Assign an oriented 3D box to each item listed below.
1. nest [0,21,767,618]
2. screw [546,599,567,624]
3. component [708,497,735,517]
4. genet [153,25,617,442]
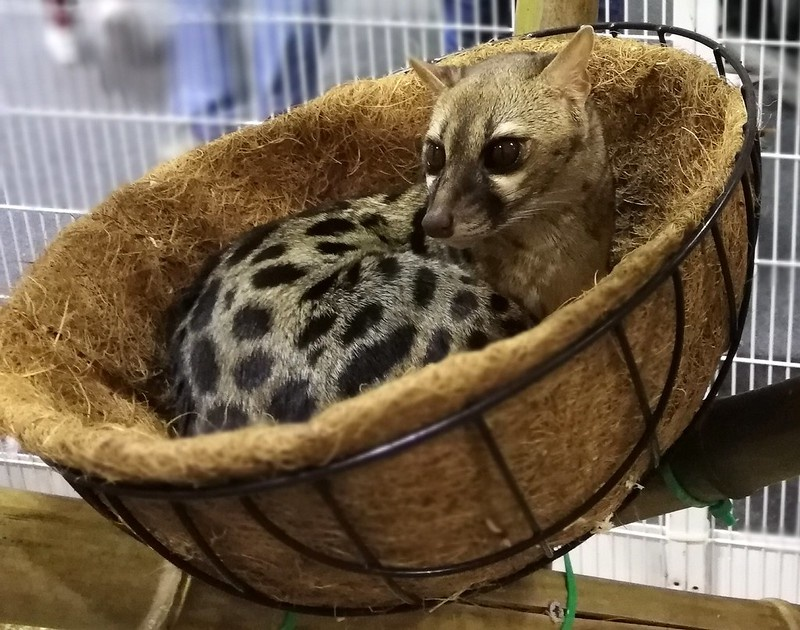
[{"bbox_3d":[-0.024,-0.055,2.093,1.435,0.852,1.151,-12,22,-22],"label":"nest"},{"bbox_3d":[0.277,0.520,1.995,0.033,0.034,0.012,0,-9,-15],"label":"screw"},{"bbox_3d":[0.597,0.350,2.108,0.047,0.045,0.013,-31,27,19],"label":"component"},{"bbox_3d":[0.001,-0.174,2.253,0.766,0.506,1.077,9,31,36],"label":"genet"}]
